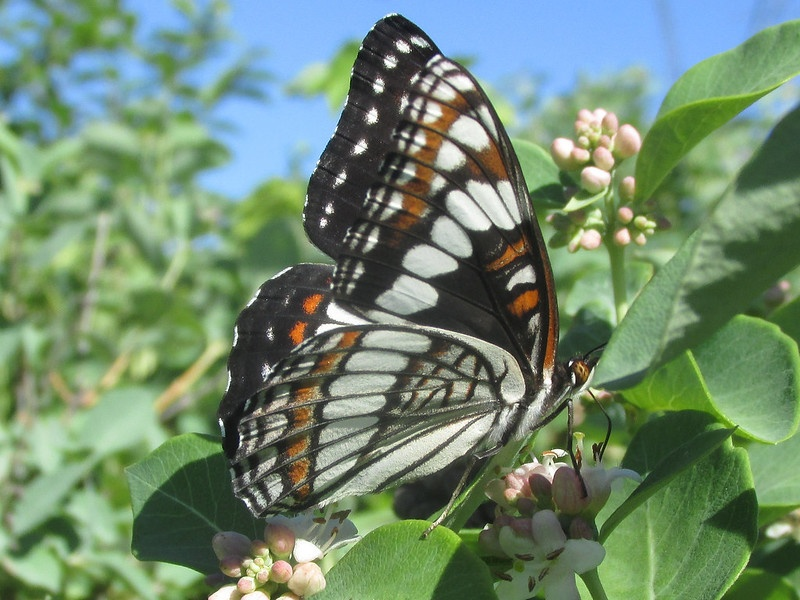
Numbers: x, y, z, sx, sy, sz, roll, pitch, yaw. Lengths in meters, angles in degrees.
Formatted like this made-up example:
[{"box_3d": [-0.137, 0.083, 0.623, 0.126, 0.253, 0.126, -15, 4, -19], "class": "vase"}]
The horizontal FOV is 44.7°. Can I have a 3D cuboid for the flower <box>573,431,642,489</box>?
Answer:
[{"box_3d": [0.651, 0.517, 3.100, 0.189, 0.160, 0.104, -2, 6, 33], "class": "flower"}]

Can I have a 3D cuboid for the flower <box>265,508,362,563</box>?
[{"box_3d": [-0.280, 0.773, 3.206, 0.222, 0.080, 0.211, 15, -8, -32], "class": "flower"}]

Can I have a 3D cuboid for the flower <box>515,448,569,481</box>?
[{"box_3d": [0.458, 0.541, 3.184, 0.114, 0.046, 0.106, -4, 9, -32], "class": "flower"}]
